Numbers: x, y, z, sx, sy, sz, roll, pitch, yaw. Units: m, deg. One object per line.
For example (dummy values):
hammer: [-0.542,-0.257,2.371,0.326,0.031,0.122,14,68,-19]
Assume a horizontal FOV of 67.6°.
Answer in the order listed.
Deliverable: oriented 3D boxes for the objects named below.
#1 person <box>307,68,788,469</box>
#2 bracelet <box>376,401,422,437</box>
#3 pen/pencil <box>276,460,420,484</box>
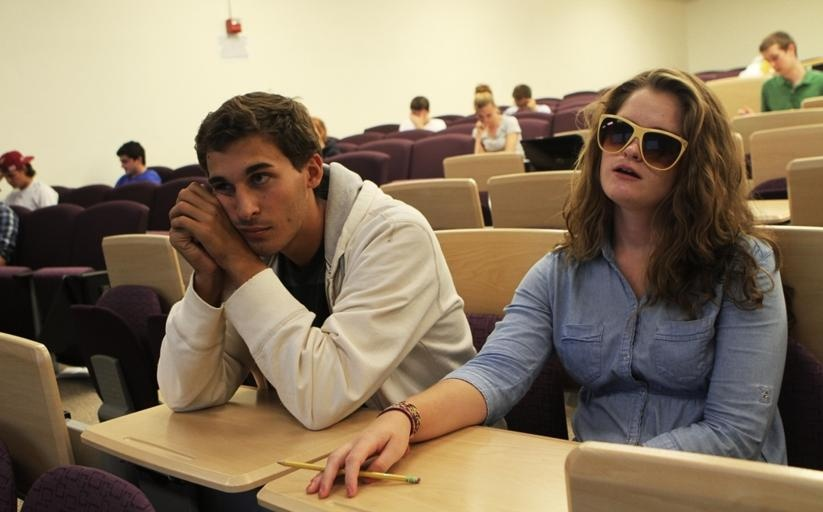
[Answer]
person: [0.526,0.051,1.910,1.116,1.086,0.795,3,-3,-45]
bracelet: [-0.028,0.367,1.389,0.079,0.064,0.038,14,-6,15]
pen/pencil: [-0.123,0.451,1.271,0.308,0.018,0.022,4,-12,4]
